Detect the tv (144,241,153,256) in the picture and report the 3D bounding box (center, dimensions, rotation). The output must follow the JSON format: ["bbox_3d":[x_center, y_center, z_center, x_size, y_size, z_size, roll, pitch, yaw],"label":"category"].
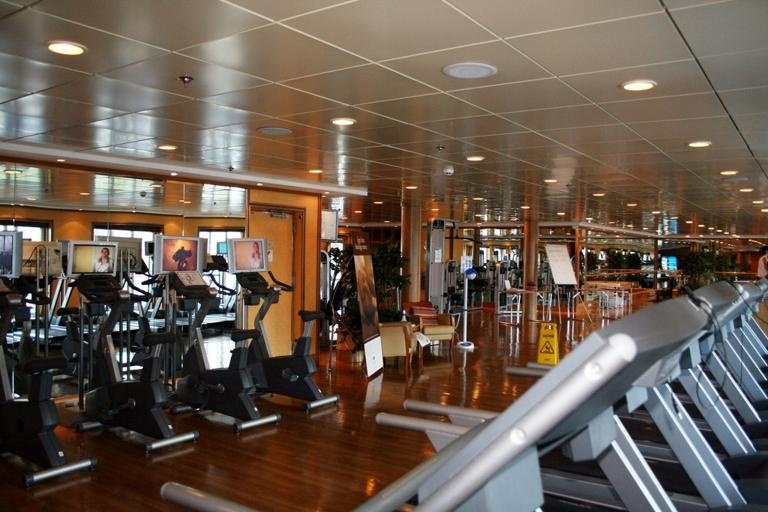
[{"bbox_3d":[-3.622,-0.117,8.529,0.128,0.207,0.104,-1,3,-30],"label":"tv"}]

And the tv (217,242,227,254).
[{"bbox_3d":[-2.749,-0.133,9.591,0.072,0.241,0.284,2,3,28],"label":"tv"}]

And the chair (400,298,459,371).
[{"bbox_3d":[0.887,1.461,11.264,0.845,0.981,0.873,1,2,-31],"label":"chair"}]

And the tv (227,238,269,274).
[{"bbox_3d":[-1.914,-0.007,7.788,0.086,0.491,0.755,-1,1,30],"label":"tv"}]

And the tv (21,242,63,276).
[{"bbox_3d":[-4.608,0.094,7.711,0.579,0.460,0.309,-6,-12,17],"label":"tv"}]

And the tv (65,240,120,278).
[{"bbox_3d":[-3.618,0.041,6.963,0.718,0.455,0.087,0,-6,13],"label":"tv"}]
